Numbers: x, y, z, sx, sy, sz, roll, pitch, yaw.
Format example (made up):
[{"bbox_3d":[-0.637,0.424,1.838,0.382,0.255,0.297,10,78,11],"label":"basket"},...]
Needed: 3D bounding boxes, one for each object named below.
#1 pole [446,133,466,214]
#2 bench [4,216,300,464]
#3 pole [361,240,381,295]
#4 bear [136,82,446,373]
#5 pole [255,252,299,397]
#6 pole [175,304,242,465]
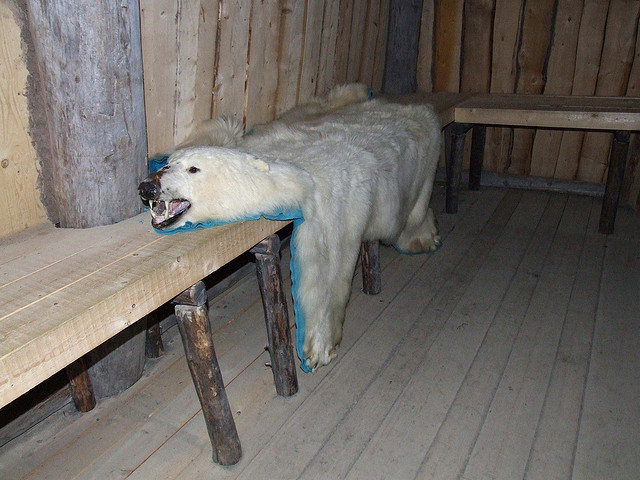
[{"bbox_3d":[1.093,-0.539,3.684,0.121,0.640,0.197,9,20,18],"label":"pole"},{"bbox_3d":[-0.634,0.395,1.729,0.605,0.926,0.994,20,27,40],"label":"bench"},{"bbox_3d":[0.304,0.153,2.689,0.133,0.349,0.115,6,19,10],"label":"pole"},{"bbox_3d":[0.011,-0.264,2.033,1.286,0.478,1.339,37,48,26],"label":"bear"},{"bbox_3d":[-0.181,0.371,1.993,0.203,0.678,0.123,-4,20,-17],"label":"pole"},{"bbox_3d":[-0.414,0.572,1.765,0.169,0.833,0.158,-2,31,-6],"label":"pole"}]
